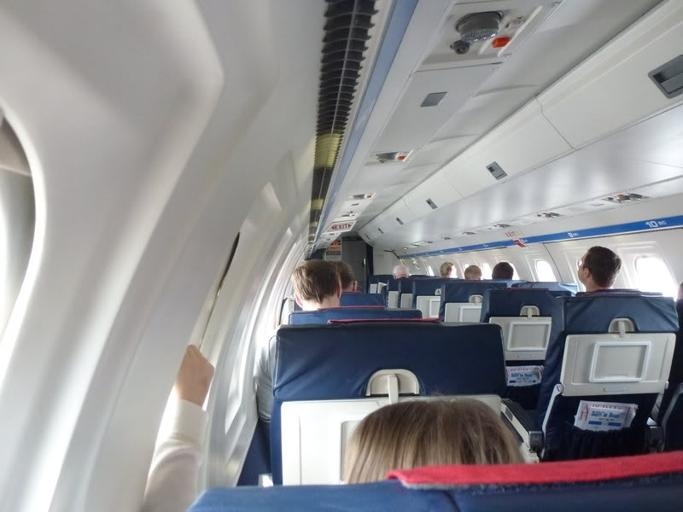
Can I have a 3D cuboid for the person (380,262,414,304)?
[{"bbox_3d":[0.991,0.561,7.995,0.614,0.813,0.710,3,2,2],"label":"person"}]
